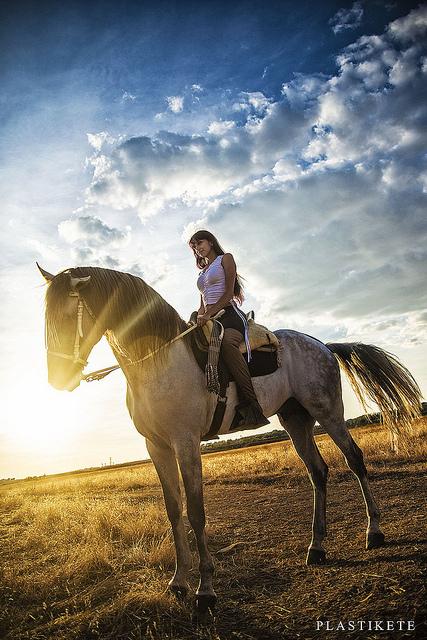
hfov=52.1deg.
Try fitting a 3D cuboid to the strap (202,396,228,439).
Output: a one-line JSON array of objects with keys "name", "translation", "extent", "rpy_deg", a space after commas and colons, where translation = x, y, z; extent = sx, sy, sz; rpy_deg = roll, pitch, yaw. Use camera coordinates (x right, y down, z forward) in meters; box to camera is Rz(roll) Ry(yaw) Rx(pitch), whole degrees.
[{"name": "strap", "translation": [0.036, 1.088, 4.851], "extent": [0.118, 0.409, 0.334], "rpy_deg": [12, -1, -19]}]

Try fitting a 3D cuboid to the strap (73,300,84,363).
[{"name": "strap", "translation": [-1.410, 0.136, 4.509], "extent": [0.083, 0.507, 0.076], "rpy_deg": [1, 1, -25]}]
